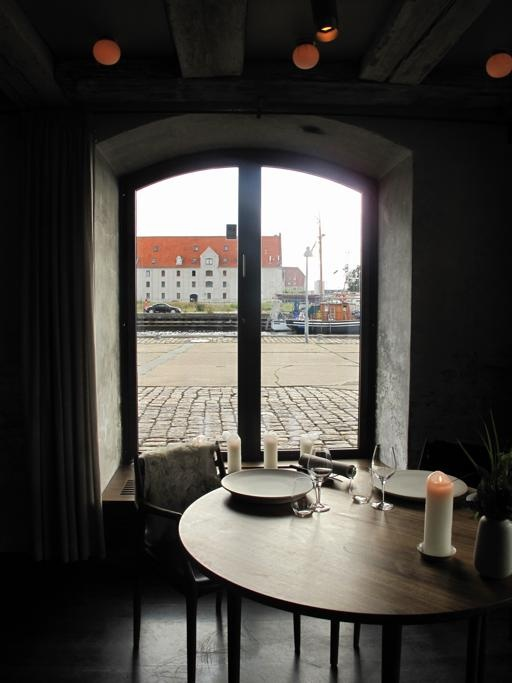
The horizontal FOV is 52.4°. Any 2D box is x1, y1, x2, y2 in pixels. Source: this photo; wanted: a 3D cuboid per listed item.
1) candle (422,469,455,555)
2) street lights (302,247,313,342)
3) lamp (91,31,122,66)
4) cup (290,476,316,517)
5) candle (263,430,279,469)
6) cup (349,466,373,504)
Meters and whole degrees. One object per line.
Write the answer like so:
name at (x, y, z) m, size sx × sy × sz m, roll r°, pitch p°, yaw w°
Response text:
candle at (0.426, 0.409, 1.218) m, size 0.060 × 0.187 × 0.070 m, roll 0°, pitch 2°, yaw 19°
street lights at (0.307, -0.282, 3.041) m, size 0.050 × 0.554 × 0.048 m, roll -1°, pitch 2°, yaw -3°
lamp at (-0.569, -1.095, 1.993) m, size 0.108 × 0.081 × 0.210 m, roll -2°, pitch 3°, yaw -17°
cup at (0.146, 0.470, 1.571) m, size 0.048 × 0.117 × 0.098 m, roll 0°, pitch 0°, yaw 8°
candle at (0.054, 0.408, 1.970) m, size 0.046 × 0.114 × 0.071 m, roll -1°, pitch 2°, yaw -6°
cup at (0.345, 0.456, 1.673) m, size 0.068 × 0.137 × 0.069 m, roll -1°, pitch -5°, yaw 0°
